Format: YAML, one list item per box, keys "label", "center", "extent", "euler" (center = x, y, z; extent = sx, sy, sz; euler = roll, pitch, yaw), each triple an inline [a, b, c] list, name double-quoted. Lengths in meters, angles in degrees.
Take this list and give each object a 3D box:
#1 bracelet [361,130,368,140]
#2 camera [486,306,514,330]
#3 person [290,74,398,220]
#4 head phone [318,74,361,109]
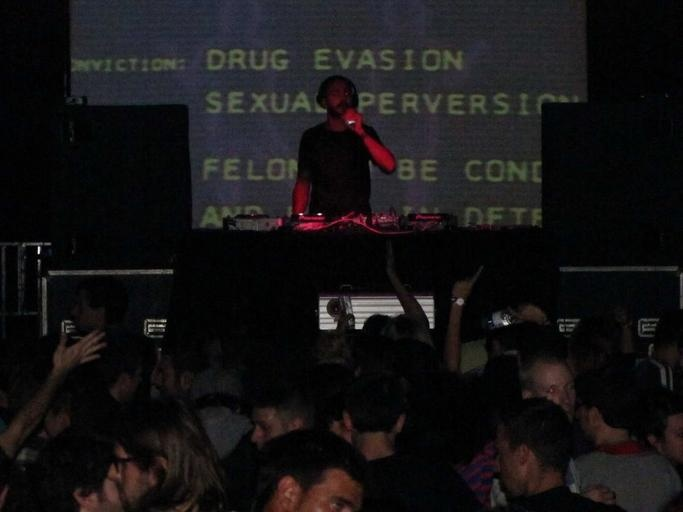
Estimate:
- label: "bracelet"
  center: [0.192, -1.010, 8.433]
  extent: [0.014, 0.060, 0.060]
  euler: [-8, -31, -24]
- label: "camera"
  center: [1.194, 0.466, 7.608]
  extent: [0.133, 0.069, 0.191]
  euler: [-28, -1, 10]
- label: "person"
  center: [0.030, -0.963, 8.991]
  extent: [0.748, 1.221, 1.027]
  euler: [-1, 1, -23]
- label: "head phone"
  center: [-0.015, -1.438, 8.932]
  extent: [0.346, 0.302, 0.133]
  euler: [-1, -15, -3]
